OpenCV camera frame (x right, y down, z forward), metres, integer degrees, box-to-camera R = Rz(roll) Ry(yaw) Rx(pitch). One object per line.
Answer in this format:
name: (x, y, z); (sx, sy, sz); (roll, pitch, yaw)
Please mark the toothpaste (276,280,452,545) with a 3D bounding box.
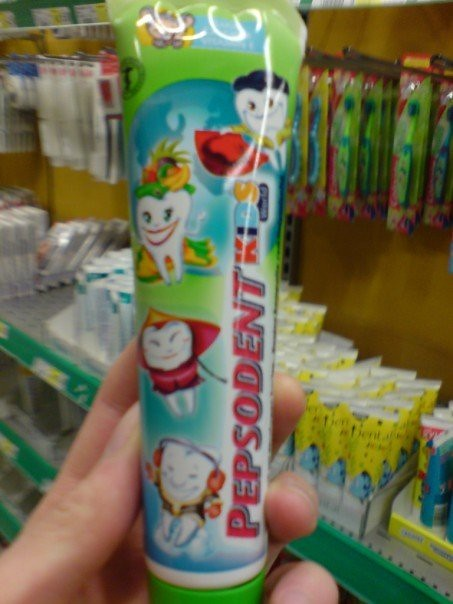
toothpaste: (0.257, 0.182, 0.948); (0.290, 0.364, 0.166); (-5, -3, 42)
